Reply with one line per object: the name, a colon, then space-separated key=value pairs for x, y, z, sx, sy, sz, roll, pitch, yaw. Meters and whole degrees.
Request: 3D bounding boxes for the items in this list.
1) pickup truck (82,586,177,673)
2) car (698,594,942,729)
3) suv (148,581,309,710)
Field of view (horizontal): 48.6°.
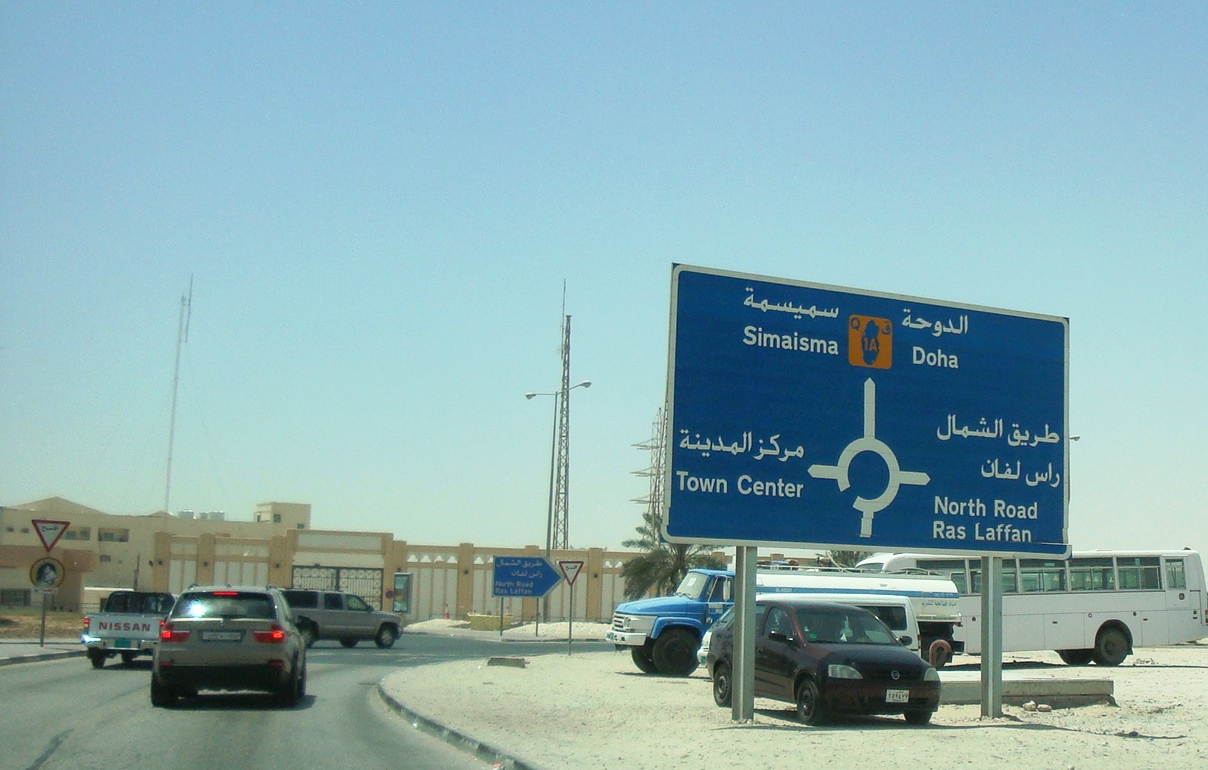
pickup truck: x=-15.020 y=7.776 z=43.083 sx=2.470 sy=2.301 sz=4.983 roll=3 pitch=-9 yaw=-9
car: x=5.653 y=6.545 z=31.989 sx=4.301 sy=2.942 sz=2.217 roll=-2 pitch=-11 yaw=16
suv: x=-9.470 y=6.719 z=34.945 sx=3.955 sy=2.794 sz=6.780 roll=1 pitch=-8 yaw=-11
